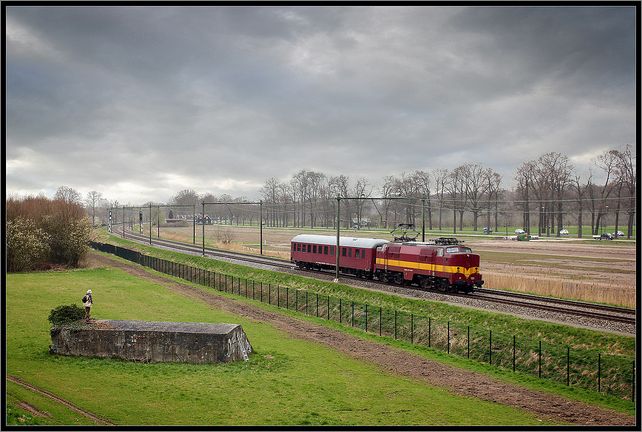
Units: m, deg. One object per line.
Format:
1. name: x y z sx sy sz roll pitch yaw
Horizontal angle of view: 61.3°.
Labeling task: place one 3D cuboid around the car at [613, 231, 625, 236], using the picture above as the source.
1. car: 63.026 3.700 114.516 1.371 0.893 2.085 0 6 4

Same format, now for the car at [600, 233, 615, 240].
1. car: 56.726 4.054 107.607 1.403 0.900 1.946 0 -2 -1
